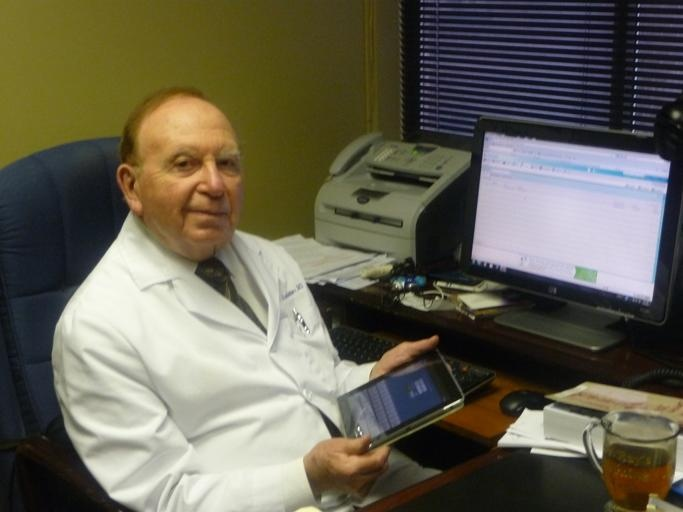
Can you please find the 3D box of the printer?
[{"bbox_3d":[0.222,-0.217,2.246,0.431,0.393,0.560,-17,23,-32],"label":"printer"}]

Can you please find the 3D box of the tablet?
[{"bbox_3d":[0.134,0.328,1.402,0.319,0.034,0.238,-33,30,6],"label":"tablet"}]
